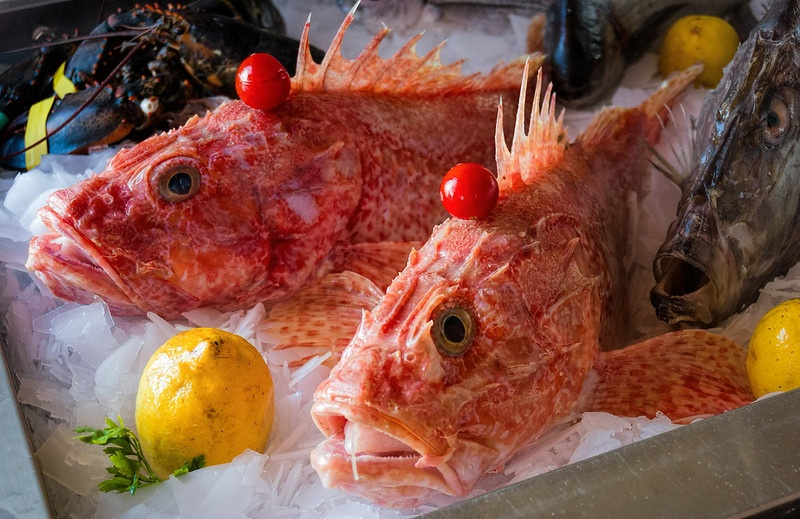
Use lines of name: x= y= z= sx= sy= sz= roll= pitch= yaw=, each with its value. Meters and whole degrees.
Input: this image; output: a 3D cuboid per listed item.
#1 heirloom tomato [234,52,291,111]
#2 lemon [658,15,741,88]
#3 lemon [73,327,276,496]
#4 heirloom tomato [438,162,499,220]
heirloom tomato: x=-0.377 y=-0.479 z=2.121 sx=0.149 sy=0.155 sz=0.184 roll=-4 pitch=85 yaw=-17
lemon: x=1.027 y=-0.732 z=2.662 sx=0.234 sy=0.235 sz=0.230 roll=4 pitch=14 yaw=30
lemon: x=-0.467 y=0.337 z=1.820 sx=0.423 sy=0.341 sz=0.310 roll=-32 pitch=38 yaw=-30
heirloom tomato: x=0.162 y=-0.159 z=1.880 sx=0.122 sy=0.125 sz=0.128 roll=-5 pitch=73 yaw=-10
